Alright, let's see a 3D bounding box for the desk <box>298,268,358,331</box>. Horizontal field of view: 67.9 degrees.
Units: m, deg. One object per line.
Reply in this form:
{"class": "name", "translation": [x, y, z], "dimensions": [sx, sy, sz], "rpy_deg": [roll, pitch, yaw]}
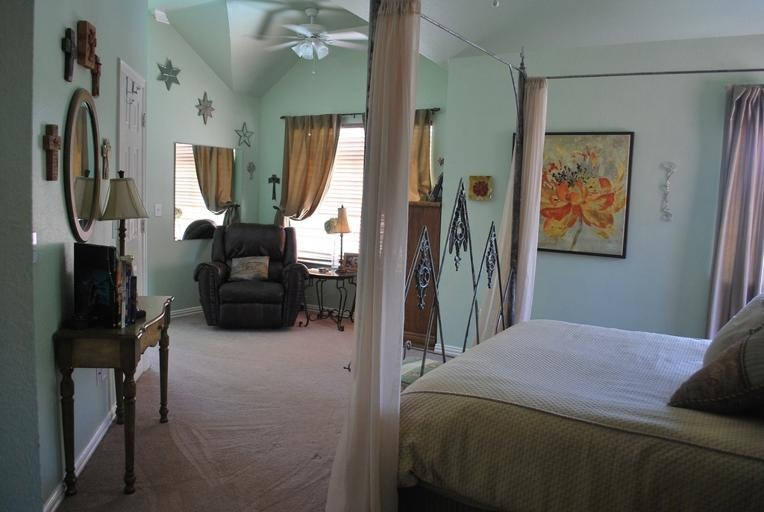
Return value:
{"class": "desk", "translation": [-0.753, 0.530, 7.186], "dimensions": [0.753, 0.747, 0.804], "rpy_deg": [2, 3, 28]}

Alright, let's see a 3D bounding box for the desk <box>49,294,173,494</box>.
{"class": "desk", "translation": [-1.836, 0.940, 3.813], "dimensions": [0.415, 0.792, 1.185], "rpy_deg": [0, 4, -4]}

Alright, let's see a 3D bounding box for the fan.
{"class": "fan", "translation": [-0.750, -2.494, 6.246], "dimensions": [1.154, 0.487, 1.139], "rpy_deg": [-4, 9, -13]}

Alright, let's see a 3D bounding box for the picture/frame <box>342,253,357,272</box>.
{"class": "picture/frame", "translation": [-0.407, 0.083, 7.091], "dimensions": [0.254, 0.299, 0.022], "rpy_deg": [-1, -36, 12]}

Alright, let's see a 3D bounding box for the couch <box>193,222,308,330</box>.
{"class": "couch", "translation": [-1.529, 0.280, 7.088], "dimensions": [1.451, 1.454, 1.164], "rpy_deg": [-1, 0, -6]}
